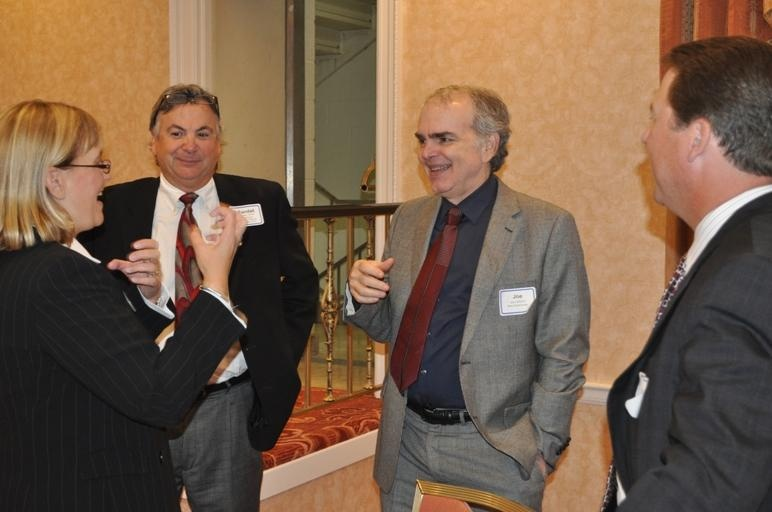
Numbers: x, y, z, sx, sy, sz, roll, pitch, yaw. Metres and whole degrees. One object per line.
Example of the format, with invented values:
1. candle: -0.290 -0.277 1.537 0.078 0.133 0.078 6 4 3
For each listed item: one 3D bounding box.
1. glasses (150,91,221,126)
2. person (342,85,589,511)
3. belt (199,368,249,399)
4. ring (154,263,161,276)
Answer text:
1. glasses: -0.900 -0.671 2.837 0.201 0.204 0.060 -1 36 -24
2. person: 0.380 0.182 2.643 0.877 1.709 0.566 5 11 16
3. belt: -0.665 0.532 2.704 0.119 0.032 0.121 -13 5 43
4. ring: -0.825 0.051 2.326 0.016 0.046 0.032 -2 5 20
